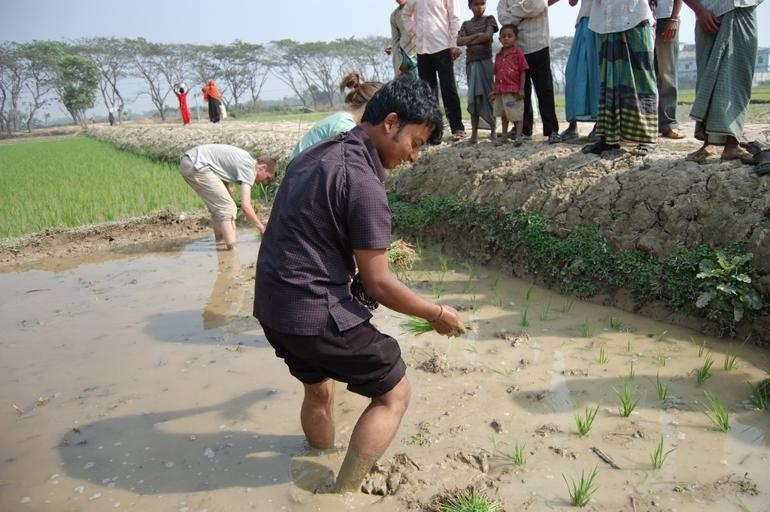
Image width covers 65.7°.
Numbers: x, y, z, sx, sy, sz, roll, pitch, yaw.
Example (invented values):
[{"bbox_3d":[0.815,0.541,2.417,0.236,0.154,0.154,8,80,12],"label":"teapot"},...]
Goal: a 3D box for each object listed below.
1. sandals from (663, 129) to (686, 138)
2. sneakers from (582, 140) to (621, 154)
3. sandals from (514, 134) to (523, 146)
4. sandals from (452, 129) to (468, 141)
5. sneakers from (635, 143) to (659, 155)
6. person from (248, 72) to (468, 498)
[{"bbox_3d":[3.925,-1.656,8.086,0.251,0.101,0.142,1,13,20],"label":"sandals"},{"bbox_3d":[2.695,-1.352,7.385,0.249,0.118,0.239,9,-16,13],"label":"sneakers"},{"bbox_3d":[1.913,-1.658,8.532,0.106,0.110,0.291,-1,12,13],"label":"sandals"},{"bbox_3d":[1.195,-1.923,9.497,0.142,0.118,0.252,1,-2,-5],"label":"sandals"},{"bbox_3d":[3.176,-1.300,7.285,0.168,0.185,0.464,-8,-1,38],"label":"sneakers"},{"bbox_3d":[-0.194,0.290,4.472,1.433,2.993,0.794,-19,23,-27],"label":"person"}]
